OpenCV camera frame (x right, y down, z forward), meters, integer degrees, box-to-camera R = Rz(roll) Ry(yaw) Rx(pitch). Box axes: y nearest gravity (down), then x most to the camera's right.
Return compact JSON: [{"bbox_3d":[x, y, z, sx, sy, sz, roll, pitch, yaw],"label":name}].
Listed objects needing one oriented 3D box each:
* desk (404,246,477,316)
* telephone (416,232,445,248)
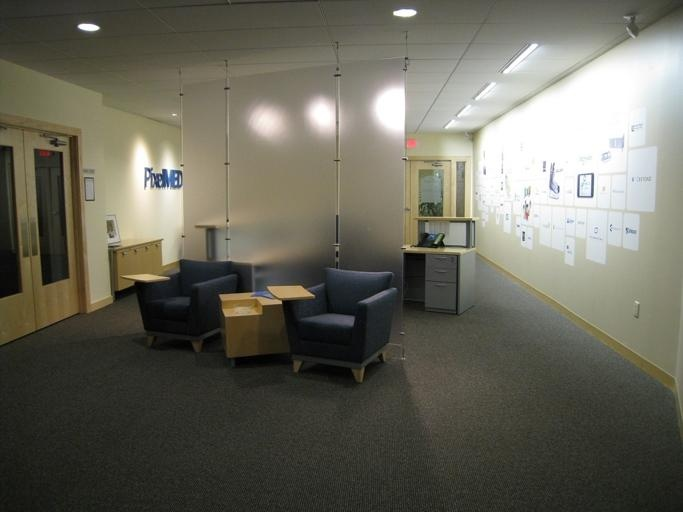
[{"bbox_3d":[1.466,0.389,8.131,1.064,0.998,0.835,4,7,31],"label":"desk"},{"bbox_3d":[1.473,-0.268,8.093,0.427,0.214,0.258,5,13,24],"label":"telephone"}]
